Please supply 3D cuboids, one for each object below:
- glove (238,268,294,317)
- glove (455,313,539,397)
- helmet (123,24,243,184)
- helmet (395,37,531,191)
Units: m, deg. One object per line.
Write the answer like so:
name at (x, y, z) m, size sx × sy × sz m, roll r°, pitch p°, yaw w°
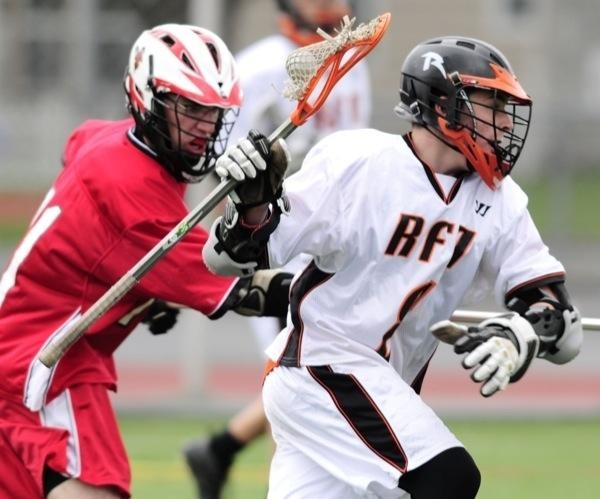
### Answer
glove at (-0.131, 0.157, 3.604) m, size 0.189 × 0.090 × 0.160 m, roll 2°, pitch 4°, yaw 17°
glove at (0.636, 0.327, 3.154) m, size 0.288 × 0.134 × 0.225 m, roll -8°, pitch 33°, yaw 30°
helmet at (-0.460, -0.571, 3.572) m, size 0.493 × 0.518 × 0.381 m, roll 21°, pitch 15°, yaw 37°
helmet at (0.571, -0.502, 3.379) m, size 0.479 × 0.521 × 0.378 m, roll 6°, pitch 4°, yaw 27°
